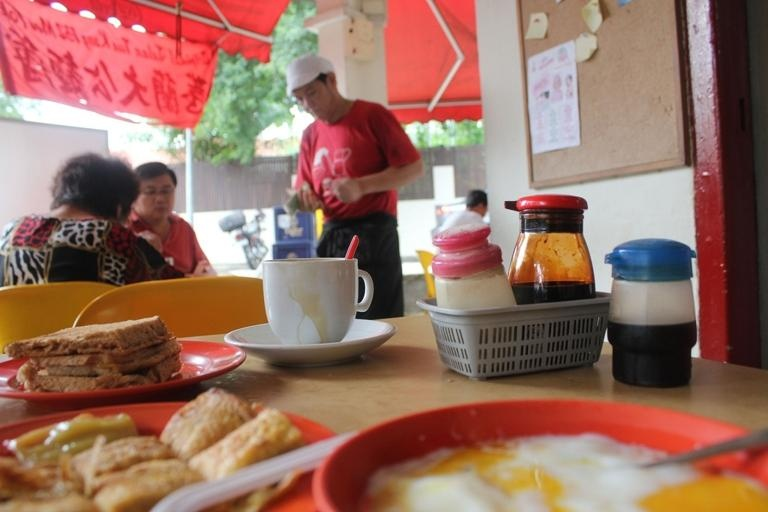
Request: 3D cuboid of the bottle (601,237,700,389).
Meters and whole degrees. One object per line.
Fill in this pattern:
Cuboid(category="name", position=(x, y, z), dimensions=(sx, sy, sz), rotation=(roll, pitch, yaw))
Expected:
Cuboid(category="bottle", position=(0.410, 0.089, 0.944), dimensions=(0.122, 0.223, 0.054), rotation=(-1, 6, 26))

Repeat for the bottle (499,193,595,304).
Cuboid(category="bottle", position=(0.287, -0.017, 1.136), dimensions=(0.189, 0.254, 0.176), rotation=(-1, 4, 0))

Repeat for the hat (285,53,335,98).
Cuboid(category="hat", position=(-0.341, -0.836, 2.782), dimensions=(0.209, 0.198, 0.220), rotation=(-4, 5, -7))

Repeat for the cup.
Cuboid(category="cup", position=(-0.130, 0.080, 1.214), dimensions=(0.188, 0.132, 0.146), rotation=(1, -4, -22))
